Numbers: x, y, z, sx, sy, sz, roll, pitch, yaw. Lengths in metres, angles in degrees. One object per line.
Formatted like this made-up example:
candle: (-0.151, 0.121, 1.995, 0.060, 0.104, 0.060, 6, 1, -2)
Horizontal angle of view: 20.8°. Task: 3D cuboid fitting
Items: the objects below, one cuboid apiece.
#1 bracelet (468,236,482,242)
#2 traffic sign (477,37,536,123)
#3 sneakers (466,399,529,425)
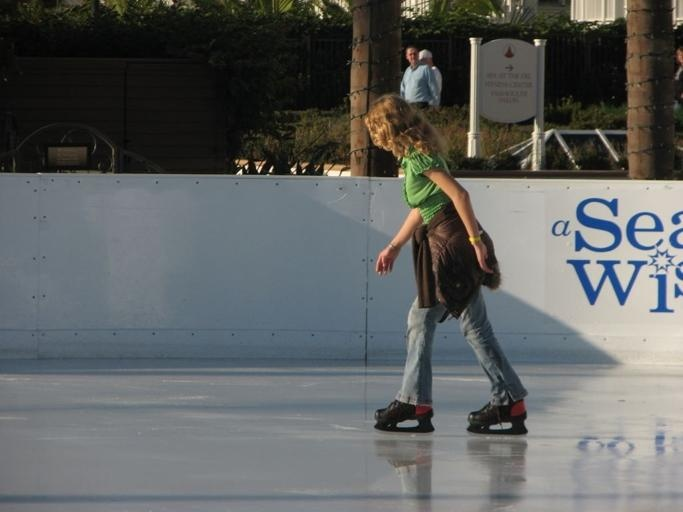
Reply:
bracelet: (1.365, -0.173, 19.200, 0.120, 0.078, 0.080, 0, 3, -1)
traffic sign: (2.863, -3.091, 32.627, 1.370, 1.947, 0.206, 1, -11, -2)
sneakers: (1.597, 1.618, 19.307, 0.594, 0.249, 0.094, 0, 3, 3)
